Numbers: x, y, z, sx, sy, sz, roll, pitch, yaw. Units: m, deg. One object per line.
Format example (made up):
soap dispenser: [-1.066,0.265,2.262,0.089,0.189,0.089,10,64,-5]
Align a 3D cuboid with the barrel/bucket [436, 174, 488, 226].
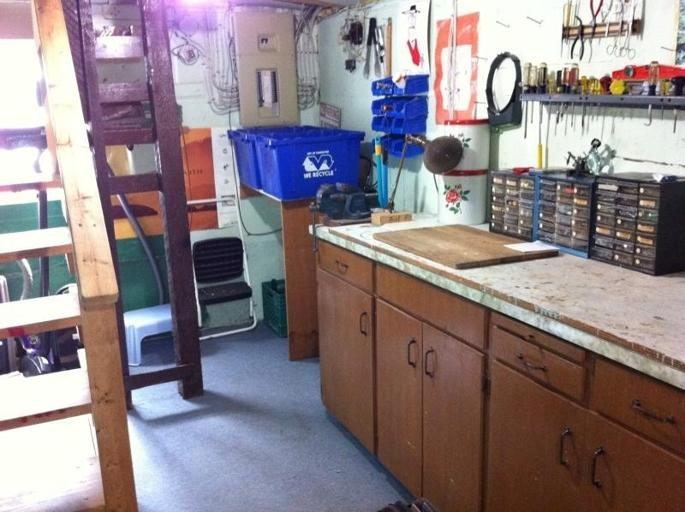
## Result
barrel/bucket: [0.638,-0.329,2.972,0.367,0.311,0.377,0,10,0]

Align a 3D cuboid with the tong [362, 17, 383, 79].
tong: [0.216,-1.425,3.831,0.153,0.380,0.057,9,20,24]

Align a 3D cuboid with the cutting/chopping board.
cutting/chopping board: [0.501,-0.052,2.558,0.584,0.029,0.808,-7,13,-27]

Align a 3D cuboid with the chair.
chair: [-0.973,0.243,4.568,0.513,0.671,0.486,-4,16,-11]

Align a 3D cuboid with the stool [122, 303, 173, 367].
stool: [-1.495,0.580,4.309,0.358,0.488,0.410,3,12,-16]

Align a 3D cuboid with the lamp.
lamp: [0.410,-0.445,3.049,0.294,0.419,0.628,-6,15,-14]

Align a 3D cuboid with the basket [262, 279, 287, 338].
basket: [-0.551,0.439,4.588,0.234,0.304,0.410,-5,11,-26]

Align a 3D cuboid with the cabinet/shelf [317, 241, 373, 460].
cabinet/shelf: [0.030,0.467,2.987,0.327,0.956,0.531,-3,12,-19]

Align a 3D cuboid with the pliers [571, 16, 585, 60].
pliers: [1.024,-0.948,2.434,0.023,0.185,0.068,-7,16,-17]

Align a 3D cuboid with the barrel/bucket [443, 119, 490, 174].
barrel/bucket: [0.639,-0.555,2.962,0.286,0.331,0.299,0,11,0]
